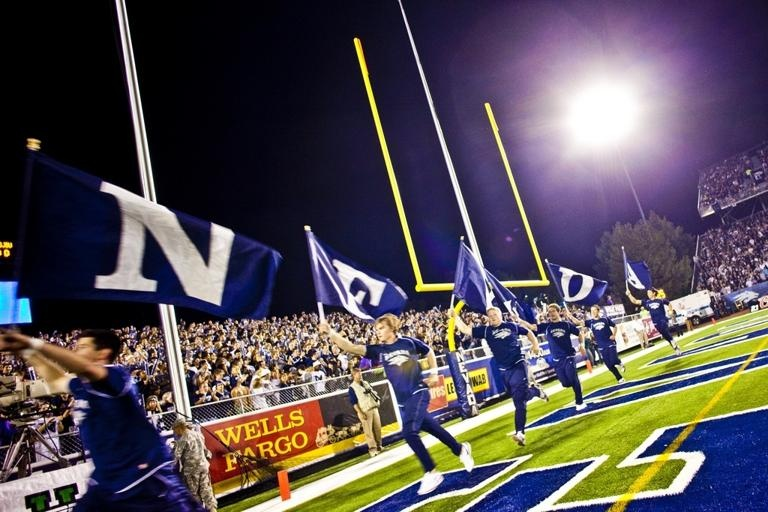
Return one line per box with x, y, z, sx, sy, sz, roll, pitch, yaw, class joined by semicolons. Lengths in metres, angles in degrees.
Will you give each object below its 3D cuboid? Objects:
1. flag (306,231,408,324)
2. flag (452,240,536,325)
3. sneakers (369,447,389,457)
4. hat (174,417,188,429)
-0.815;0.488;12.316;0.515;3.337;3.127;-37;-36;30;flag
3.376;0.595;14.398;0.432;1.971;3.123;-28;-46;35;flag
-0.159;4.482;10.930;0.159;0.212;0.483;-8;-7;33;sneakers
-3.586;2.926;8.297;0.182;0.210;0.224;7;-9;-16;hat
